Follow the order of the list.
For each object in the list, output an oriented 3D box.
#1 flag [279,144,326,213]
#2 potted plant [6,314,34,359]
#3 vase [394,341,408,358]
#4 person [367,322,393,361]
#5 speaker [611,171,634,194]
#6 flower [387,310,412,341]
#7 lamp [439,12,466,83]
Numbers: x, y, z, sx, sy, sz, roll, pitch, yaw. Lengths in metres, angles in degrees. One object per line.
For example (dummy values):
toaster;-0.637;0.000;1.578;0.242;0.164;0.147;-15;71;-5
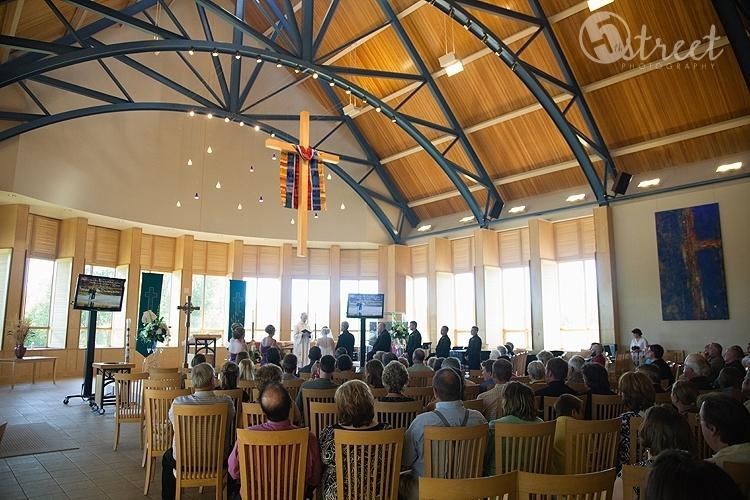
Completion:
flag;-1.827;-1.806;12.401;0.690;1.527;1.218;-10;-15;38
potted plant;-9.635;2.315;13.321;0.500;1.146;1.768;7;-14;-34
vase;0.829;3.271;16.415;0.376;0.562;0.167;0;-11;0
person;0.077;2.572;13.596;0.613;1.210;0.525;4;12;-2
speaker;7.028;-1.868;14.020;0.515;0.624;0.405;-6;-13;24
flower;0.874;2.546;16.827;0.713;0.739;0.908;1;17;1
lamp;2.090;-5.374;13.420;0.630;1.819;1.673;-3;-12;10
